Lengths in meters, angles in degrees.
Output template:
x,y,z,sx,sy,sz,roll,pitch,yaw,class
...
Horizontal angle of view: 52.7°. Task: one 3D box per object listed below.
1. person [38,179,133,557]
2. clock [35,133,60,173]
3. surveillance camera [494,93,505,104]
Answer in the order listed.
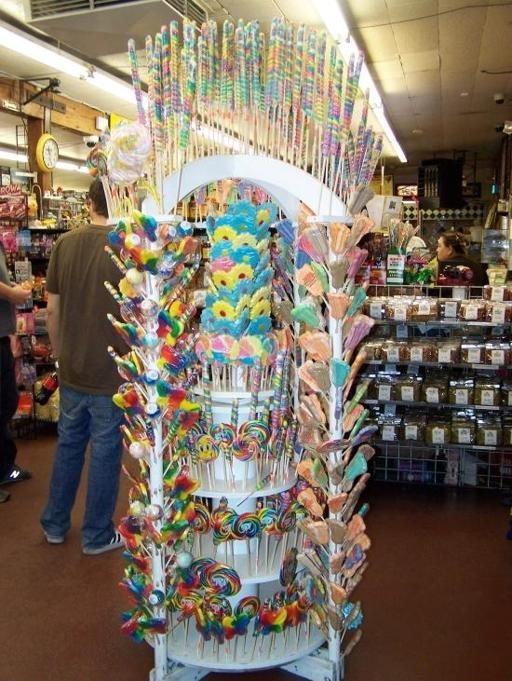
x,y,z,sx,sy,sz,roll,pitch,yaw,class
-0.801,0.128,2.707,0.553,1.839,0.533,6,9,27,person
-2.663,-2.388,6.488,0.222,0.524,0.444,1,2,-7,clock
3.407,-3.396,7.220,0.122,0.143,0.161,0,-7,18,surveillance camera
